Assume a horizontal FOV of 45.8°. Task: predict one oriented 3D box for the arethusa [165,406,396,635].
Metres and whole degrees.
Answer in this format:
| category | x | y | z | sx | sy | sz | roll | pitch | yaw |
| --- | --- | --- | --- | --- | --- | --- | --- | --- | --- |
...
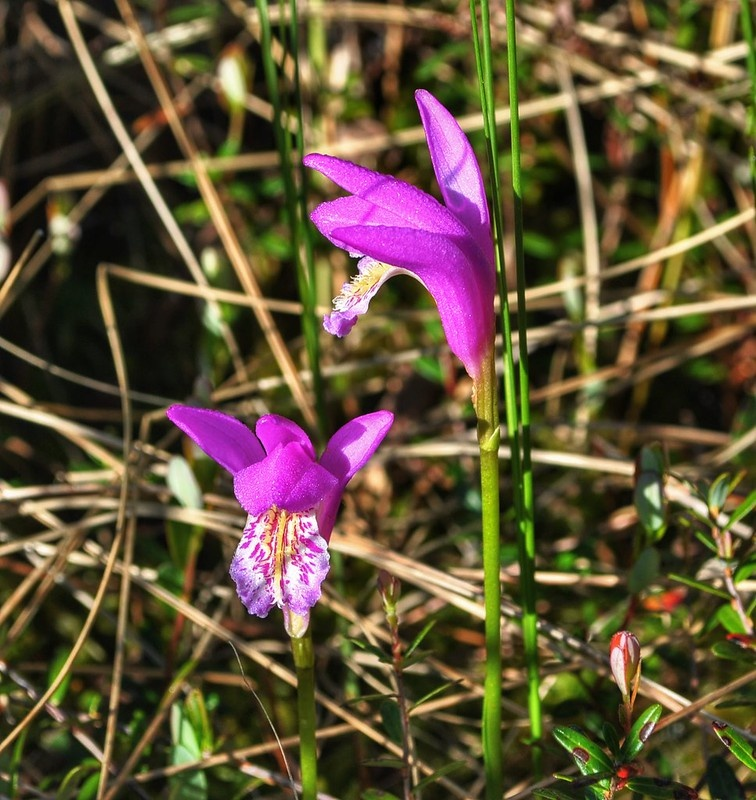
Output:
| category | x | y | z | sx | sy | sz | roll | pitch | yaw |
| --- | --- | --- | --- | --- | --- | --- | --- | --- | --- |
| arethusa | -0.116 | 0.185 | 1.504 | 0.344 | 0.373 | 0.325 | 9 | 79 | 19 |
